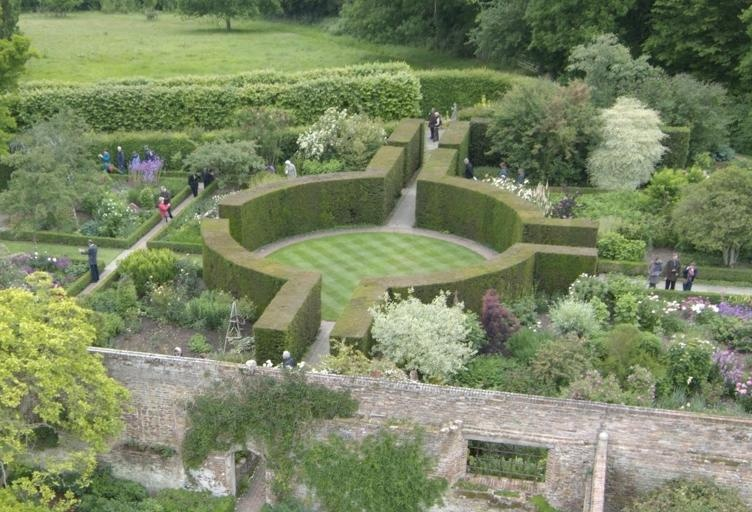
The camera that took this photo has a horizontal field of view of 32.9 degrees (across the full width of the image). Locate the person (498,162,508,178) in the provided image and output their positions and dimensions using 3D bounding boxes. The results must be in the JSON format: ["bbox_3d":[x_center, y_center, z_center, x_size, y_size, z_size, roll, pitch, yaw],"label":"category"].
[{"bbox_3d":[7.712,-5.113,76.403,0.334,0.553,1.100,0,-18,14],"label":"person"}]

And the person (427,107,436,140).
[{"bbox_3d":[3.851,-8.432,83.586,0.622,1.948,1.121,5,21,2],"label":"person"}]

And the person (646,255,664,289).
[{"bbox_3d":[14.573,1.014,66.616,0.522,1.592,0.991,11,22,20],"label":"person"}]

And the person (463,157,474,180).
[{"bbox_3d":[5.610,-5.211,76.809,0.342,1.461,1.271,1,34,9],"label":"person"}]
